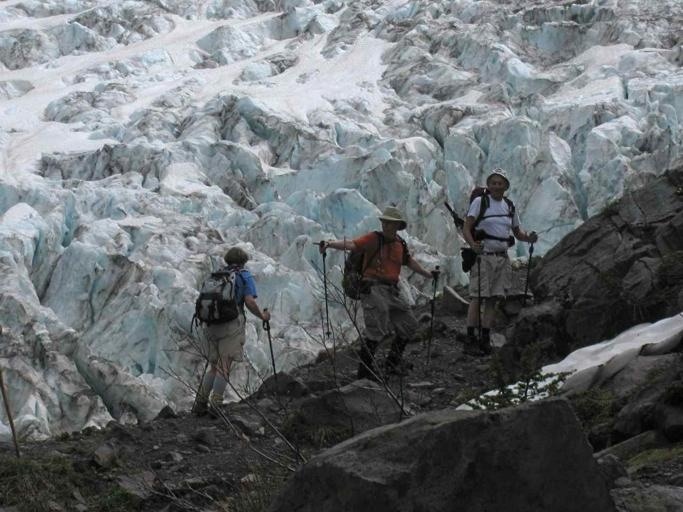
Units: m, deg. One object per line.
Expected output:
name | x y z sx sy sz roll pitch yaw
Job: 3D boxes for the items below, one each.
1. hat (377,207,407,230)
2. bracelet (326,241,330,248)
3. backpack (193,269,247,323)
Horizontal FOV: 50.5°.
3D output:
hat | 0.634 -0.467 8.547 0.285 0.349 0.177 9 64 36
bracelet | -0.150 -0.125 7.955 0.037 0.049 0.048 -1 56 4
backpack | -1.404 0.468 8.214 0.605 0.558 0.304 -12 16 -13
